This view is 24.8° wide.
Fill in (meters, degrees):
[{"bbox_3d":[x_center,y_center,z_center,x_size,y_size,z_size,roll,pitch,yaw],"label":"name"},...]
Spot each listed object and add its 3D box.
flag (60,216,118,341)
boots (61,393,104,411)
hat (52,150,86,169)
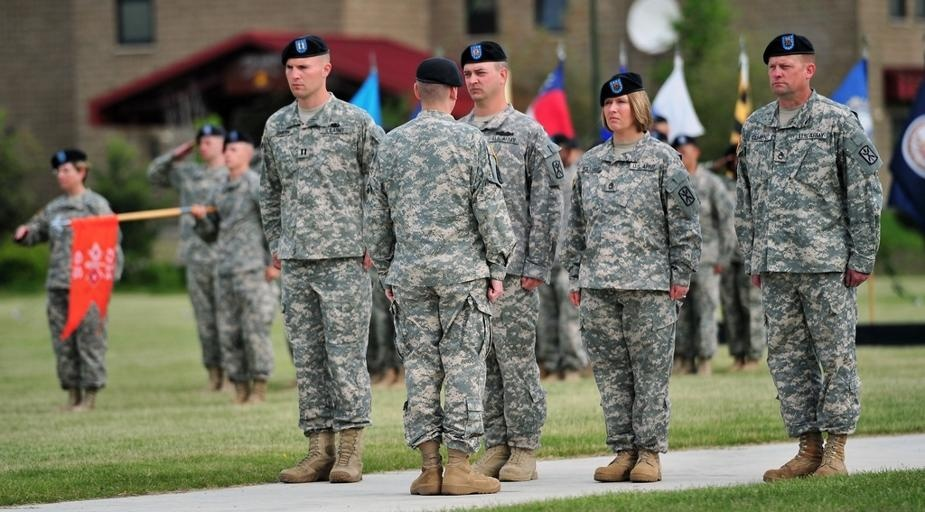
[{"bbox_3d":[-5.975,0.291,33.880,0.931,1.942,0.395,-2,0,-9],"label":"flag"},{"bbox_3d":[-6.307,2.397,34.855,0.405,0.388,0.392,2,-1,1],"label":"boots"},{"bbox_3d":[-6.463,-1.605,34.595,0.579,0.315,0.302,-2,0,-10],"label":"hat"}]
